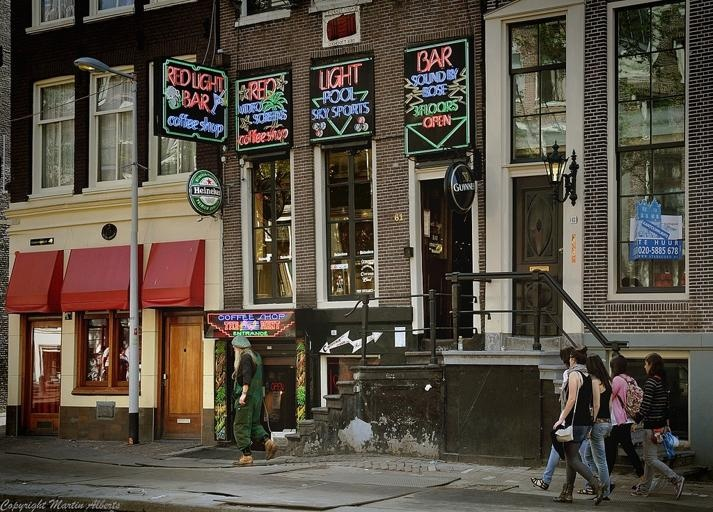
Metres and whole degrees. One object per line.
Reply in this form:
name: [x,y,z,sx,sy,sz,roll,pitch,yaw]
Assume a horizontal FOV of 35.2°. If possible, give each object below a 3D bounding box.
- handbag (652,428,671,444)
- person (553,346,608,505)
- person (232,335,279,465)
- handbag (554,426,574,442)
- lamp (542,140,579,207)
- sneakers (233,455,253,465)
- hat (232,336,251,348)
handbag: [5.604,3.325,20.874,0.255,0.326,0.132,4,-5,-4]
person: [3.902,3.009,19.911,0.879,2.746,0.428,-1,-7,-12]
person: [-2.125,2.972,23.252,0.789,2.668,0.923,-2,-7,-5]
handbag: [3.656,3.118,19.725,0.248,0.247,0.118,-7,-14,29]
lamp: [4.461,-1.790,24.397,0.583,1.325,0.953,-9,-10,43]
sneakers: [-2.335,4.262,23.447,0.363,0.258,0.180,5,0,9]
hat: [-2.425,1.814,23.778,0.393,0.184,0.449,7,10,-8]
